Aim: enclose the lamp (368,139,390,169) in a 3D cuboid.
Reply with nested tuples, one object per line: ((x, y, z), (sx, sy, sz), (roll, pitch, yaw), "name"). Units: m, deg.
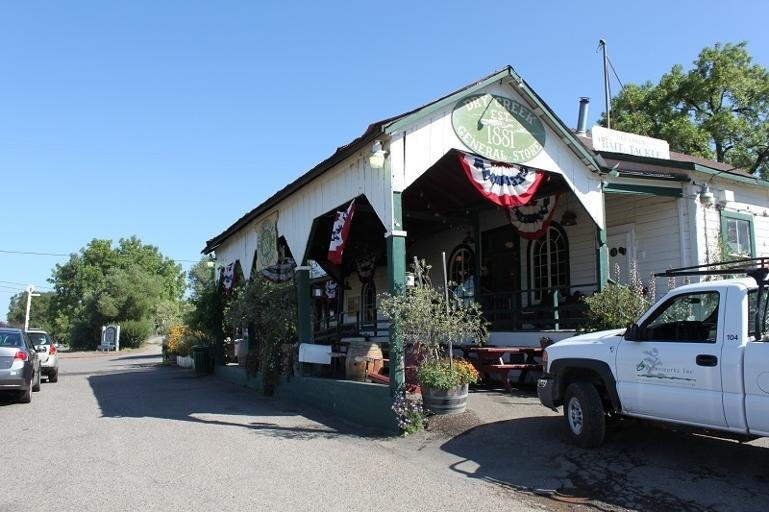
((-0.102, -2.036, 11.566), (0.390, 0.493, 0.444), (-2, -7, 35), "lamp")

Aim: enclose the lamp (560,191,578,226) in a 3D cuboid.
((5.220, -1.326, 16.333), (0.279, 0.956, 0.627), (0, -2, -27), "lamp")

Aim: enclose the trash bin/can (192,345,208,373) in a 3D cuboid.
((-7.232, 4.121, 22.749), (0.777, 1.236, 0.856), (0, -10, -1), "trash bin/can")

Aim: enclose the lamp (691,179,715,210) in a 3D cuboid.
((8.429, -1.629, 15.208), (1.004, 0.684, 0.274), (1, -3, -36), "lamp")

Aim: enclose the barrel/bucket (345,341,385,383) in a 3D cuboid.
((-0.387, 2.495, 13.917), (1.082, 1.250, 0.751), (0, 0, 38), "barrel/bucket")

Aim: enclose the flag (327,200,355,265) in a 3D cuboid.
((-0.956, -0.529, 12.960), (0.557, 1.360, 1.173), (-1, -2, -5), "flag")

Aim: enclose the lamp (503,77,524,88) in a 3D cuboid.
((2.827, -3.748, 12.445), (0.317, 0.092, 0.217), (26, -18, -10), "lamp")

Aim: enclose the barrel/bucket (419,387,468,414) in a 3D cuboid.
((1.117, 2.659, 10.854), (0.551, 0.330, 0.595), (-1, -11, 0), "barrel/bucket")

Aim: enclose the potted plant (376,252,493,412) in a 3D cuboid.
((1.125, 1.490, 11.481), (1.873, 3.058, 2.179), (-6, -1, -39), "potted plant")
